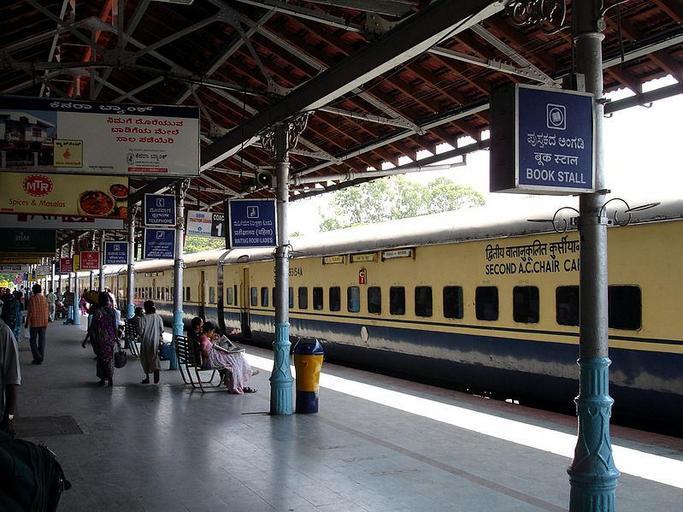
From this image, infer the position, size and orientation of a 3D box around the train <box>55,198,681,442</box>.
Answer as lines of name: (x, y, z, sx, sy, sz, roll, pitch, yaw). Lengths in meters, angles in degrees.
train: (0.750, 1.217, 16.006, 1.012, 4.463, 16.942, -1, 0, -33)

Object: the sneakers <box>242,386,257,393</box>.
sneakers: (-2.087, 3.036, 13.335, 0.339, 0.136, 0.113, -2, 2, -25)

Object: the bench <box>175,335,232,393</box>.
bench: (-3.338, 2.563, 14.119, 0.782, 1.110, 2.361, 3, -8, -21)

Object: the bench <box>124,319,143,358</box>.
bench: (-6.731, 2.658, 18.992, 0.650, 0.861, 1.978, 2, 0, -22)

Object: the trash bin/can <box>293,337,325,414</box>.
trash bin/can: (-0.637, 2.254, 11.116, 0.532, 1.342, 0.457, 0, 1, -5)
